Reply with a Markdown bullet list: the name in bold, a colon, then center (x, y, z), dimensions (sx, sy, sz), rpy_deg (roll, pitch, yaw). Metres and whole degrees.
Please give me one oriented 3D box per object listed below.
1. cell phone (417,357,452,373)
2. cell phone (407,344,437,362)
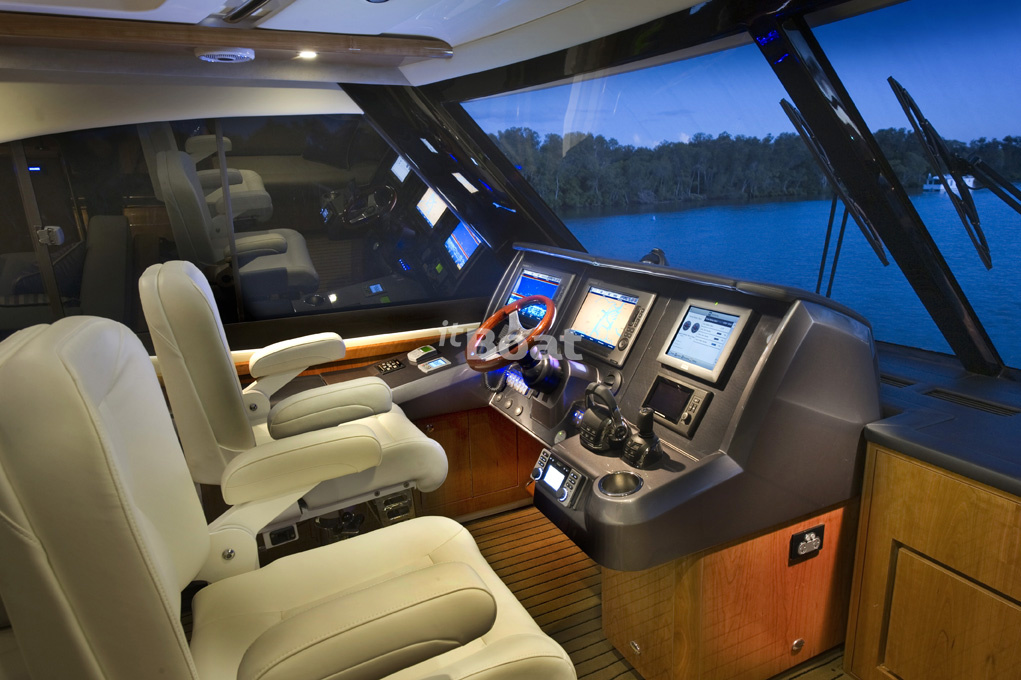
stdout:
- **cell phone**: center (-0.378, 0.115, 3.236), dimensions (0.115, 0.016, 0.080), rpy_deg (-23, 36, -32)
- **cell phone**: center (-0.452, 0.060, 3.331), dimensions (0.114, 0.034, 0.081), rpy_deg (-25, 26, -32)
